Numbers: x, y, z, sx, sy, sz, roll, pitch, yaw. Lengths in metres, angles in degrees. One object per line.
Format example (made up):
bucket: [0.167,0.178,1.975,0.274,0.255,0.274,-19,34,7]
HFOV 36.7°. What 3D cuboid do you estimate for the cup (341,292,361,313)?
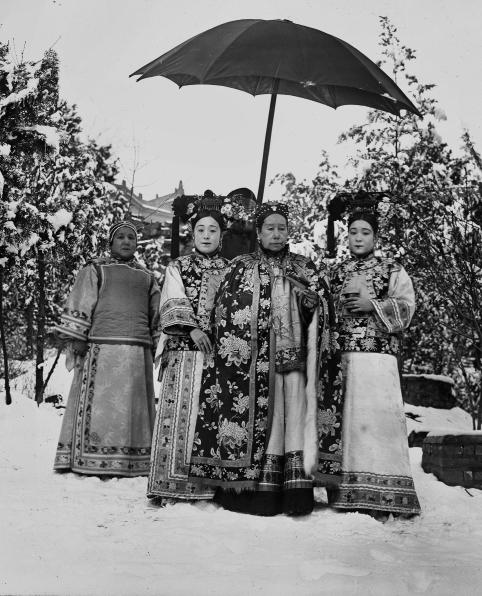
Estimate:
cup: [0.653,0.018,4.333,0.111,0.122,0.120,-1,-2,0]

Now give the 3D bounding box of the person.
person: [0.409,0.235,4.212,1.310,1.937,0.674,5,-5,-23]

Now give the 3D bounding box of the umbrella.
umbrella: [0.267,-0.825,4.995,1.963,1.503,1.877,6,7,-8]
